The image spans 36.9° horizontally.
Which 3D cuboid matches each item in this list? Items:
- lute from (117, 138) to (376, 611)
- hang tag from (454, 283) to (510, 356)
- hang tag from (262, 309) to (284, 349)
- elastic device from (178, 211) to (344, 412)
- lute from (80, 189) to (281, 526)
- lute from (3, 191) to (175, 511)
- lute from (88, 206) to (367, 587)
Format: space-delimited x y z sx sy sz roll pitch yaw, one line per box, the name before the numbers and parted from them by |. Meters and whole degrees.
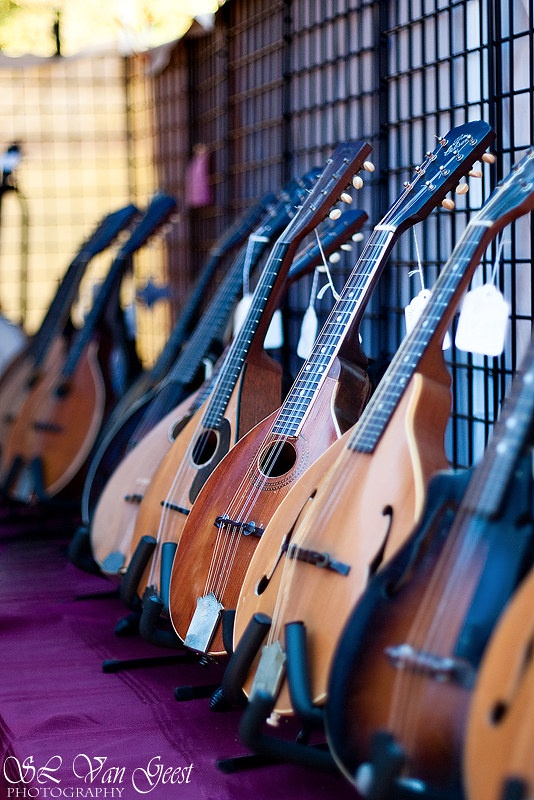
lute | 0.020 0.017 1.364 0.133 0.853 0.306 23 -5 -26
hang tag | 0.255 -0.093 0.969 0.061 0.087 0.020 4 -3 36
hang tag | 0.013 -0.146 1.636 0.043 0.089 0.016 5 0 43
elastic device | -0.023 -0.106 1.517 0.061 0.486 0.181 18 19 -4
lute | -0.173 -0.094 1.609 0.119 0.860 0.307 24 2 -18
lute | -0.480 -0.024 1.923 0.118 0.858 0.302 11 13 -44
lute | -0.058 0.077 1.541 0.122 0.895 0.314 26 2 -40
